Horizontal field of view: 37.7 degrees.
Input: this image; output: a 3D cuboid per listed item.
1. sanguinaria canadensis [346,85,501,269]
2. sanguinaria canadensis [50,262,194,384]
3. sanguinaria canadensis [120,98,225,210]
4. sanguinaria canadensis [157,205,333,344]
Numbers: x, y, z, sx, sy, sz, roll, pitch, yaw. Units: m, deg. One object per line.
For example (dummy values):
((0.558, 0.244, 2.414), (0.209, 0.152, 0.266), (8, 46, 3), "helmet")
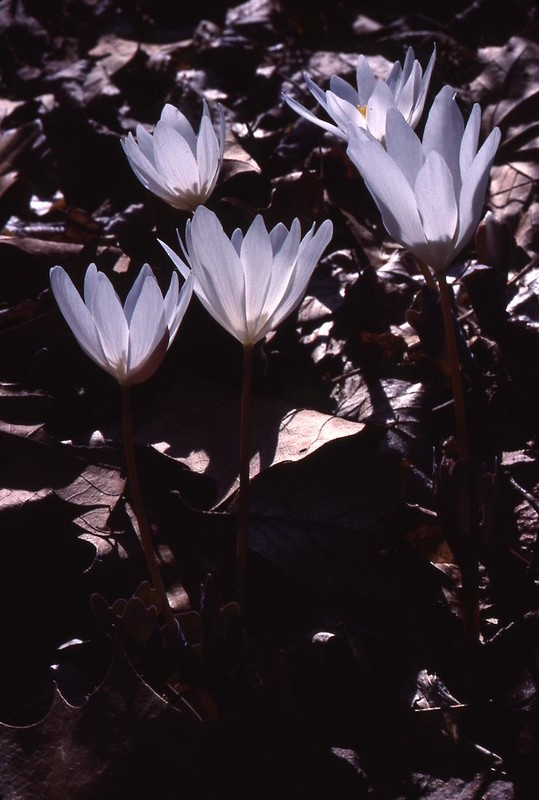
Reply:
((0.295, -0.358, 1.443), (0.250, 0.284, 0.227), (-6, 1, 8), "sanguinaria canadensis")
((-0.279, -0.134, 1.437), (0.251, 0.238, 0.228), (3, 11, 24), "sanguinaria canadensis")
((-0.230, -0.567, 1.845), (0.228, 0.247, 0.211), (4, 28, 0), "sanguinaria canadensis")
((-0.050, -0.226, 1.470), (0.258, 0.194, 0.285), (-1, -1, 22), "sanguinaria canadensis")
